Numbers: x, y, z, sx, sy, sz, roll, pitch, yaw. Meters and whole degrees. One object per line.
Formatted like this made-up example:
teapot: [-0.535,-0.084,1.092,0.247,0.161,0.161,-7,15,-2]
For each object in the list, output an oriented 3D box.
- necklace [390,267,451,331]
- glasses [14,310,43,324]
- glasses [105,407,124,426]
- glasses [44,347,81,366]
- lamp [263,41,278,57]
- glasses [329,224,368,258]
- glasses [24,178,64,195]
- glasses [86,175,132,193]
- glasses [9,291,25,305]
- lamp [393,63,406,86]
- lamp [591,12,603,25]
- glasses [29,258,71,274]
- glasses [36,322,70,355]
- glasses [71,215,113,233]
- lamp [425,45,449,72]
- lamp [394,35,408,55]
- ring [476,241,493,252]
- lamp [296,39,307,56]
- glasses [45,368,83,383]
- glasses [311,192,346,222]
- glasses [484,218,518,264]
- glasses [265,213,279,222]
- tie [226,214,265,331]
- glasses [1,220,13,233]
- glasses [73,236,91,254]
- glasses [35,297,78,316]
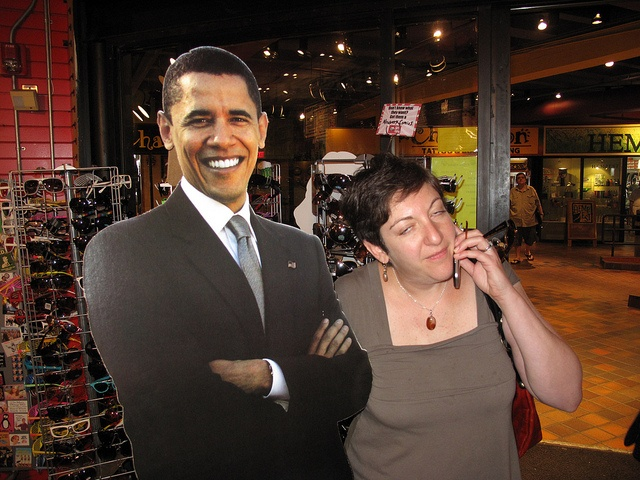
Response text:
necklace: [0.453,0.265,2.073,0.221,0.404,0.030,-4,-9,-9]
glasses: [-1.893,0.502,3.066,0.186,0.101,0.138,8,0,-40]
glasses: [-1.302,1.106,2.946,0.120,0.121,0.050,-7,-5,14]
glasses: [-1.572,0.678,2.859,0.176,0.066,0.179,-1,6,-31]
lamp: [-0.424,-1.635,4.076,0.037,0.154,0.156,20,39,23]
glasses: [0.189,-0.006,3.333,0.196,0.122,0.275,40,-9,11]
glasses: [-1.673,-0.327,2.852,0.131,0.066,0.140,0,-10,-9]
glasses: [-1.268,-0.330,2.758,0.267,0.127,0.183,-1,12,6]
glasses: [-2.088,0.400,3.246,0.088,0.138,0.067,2,-12,-6]
lamp: [0.673,-1.374,3.909,0.041,0.188,0.213,3,12,27]
lamp: [3.209,-2.581,5.460,0.099,0.126,0.103,0,-3,-17]
glasses: [-1.672,0.165,2.903,0.256,0.099,0.110,-4,11,-8]
glasses: [-1.639,0.633,2.917,0.137,0.212,0.076,5,-21,15]
glasses: [-1.301,-0.093,2.670,0.148,0.071,0.076,-8,-37,5]
lamp: [1.026,-1.578,4.116,0.159,0.194,0.333,0,11,13]
lamp: [0.670,-1.570,3.807,0.049,0.134,0.183,6,14,40]
ring: [0.716,0.028,2.034,0.011,0.044,0.045,44,18,9]
lamp: [-0.168,-1.715,4.172,0.097,0.113,0.190,-4,7,8]
glasses: [-1.620,0.846,2.957,0.153,0.052,0.158,-4,6,-20]
glasses: [0.049,-0.247,3.404,0.159,0.235,0.086,3,1,10]
glasses: [0.905,0.007,2.384,0.214,0.214,0.104,4,-25,49]
glasses: [-0.281,-0.125,2.744,0.037,0.050,0.120,-3,-10,14]
tie: [-0.319,0.087,2.082,0.100,0.629,0.088,-12,-6,-15]
glasses: [-2.036,-0.092,3.061,0.062,0.096,0.036,-1,7,5]
glasses: [-1.309,0.022,2.584,0.060,0.074,0.056,-19,36,-41]
glasses: [-1.629,0.401,2.900,0.155,0.064,0.168,4,-33,-14]
